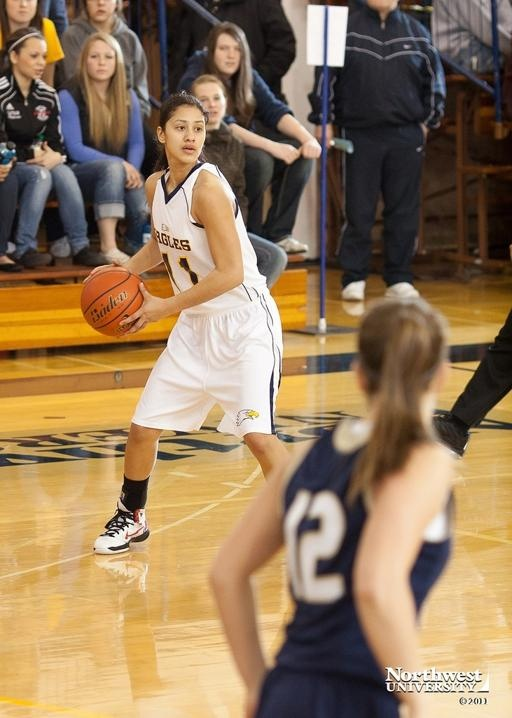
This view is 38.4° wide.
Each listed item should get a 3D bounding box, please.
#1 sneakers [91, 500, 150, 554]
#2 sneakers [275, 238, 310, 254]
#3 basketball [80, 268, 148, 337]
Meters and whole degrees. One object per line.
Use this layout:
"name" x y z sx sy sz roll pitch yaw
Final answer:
"sneakers" -0.444 0.542 2.403 0.096 0.143 0.248 -4 -1 30
"sneakers" 0.243 -0.935 6.102 0.340 0.131 0.117 11 16 15
"basketball" -0.439 -0.163 2.495 0.221 0.240 0.216 5 3 15
